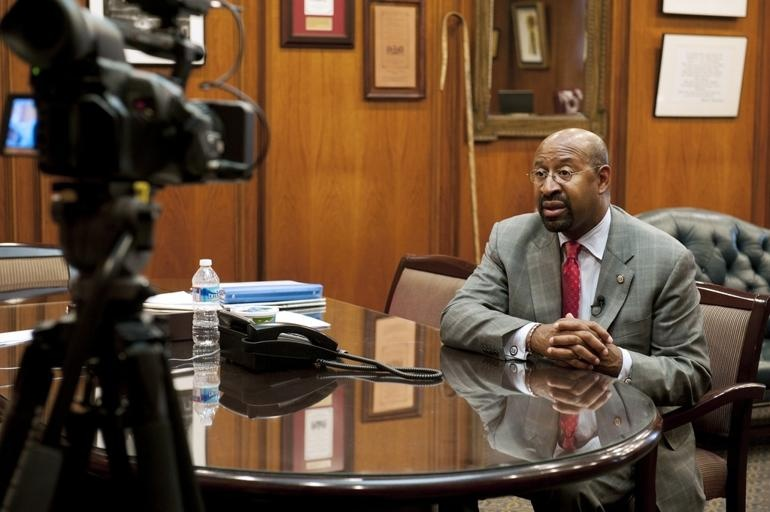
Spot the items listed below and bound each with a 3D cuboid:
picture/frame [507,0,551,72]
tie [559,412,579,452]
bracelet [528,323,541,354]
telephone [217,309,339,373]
[{"bbox_3d":[0.957,-1.489,4.749,0.284,0.424,0.057,-3,11,-24],"label":"picture/frame"},{"bbox_3d":[0.392,0.380,1.554,0.035,0.145,0.017,-2,41,14],"label":"tie"},{"bbox_3d":[0.465,0.262,2.276,0.058,0.080,0.028,8,-6,-35],"label":"bracelet"},{"bbox_3d":[-0.304,0.231,2.049,0.266,0.137,0.349,-1,3,-29],"label":"telephone"}]
